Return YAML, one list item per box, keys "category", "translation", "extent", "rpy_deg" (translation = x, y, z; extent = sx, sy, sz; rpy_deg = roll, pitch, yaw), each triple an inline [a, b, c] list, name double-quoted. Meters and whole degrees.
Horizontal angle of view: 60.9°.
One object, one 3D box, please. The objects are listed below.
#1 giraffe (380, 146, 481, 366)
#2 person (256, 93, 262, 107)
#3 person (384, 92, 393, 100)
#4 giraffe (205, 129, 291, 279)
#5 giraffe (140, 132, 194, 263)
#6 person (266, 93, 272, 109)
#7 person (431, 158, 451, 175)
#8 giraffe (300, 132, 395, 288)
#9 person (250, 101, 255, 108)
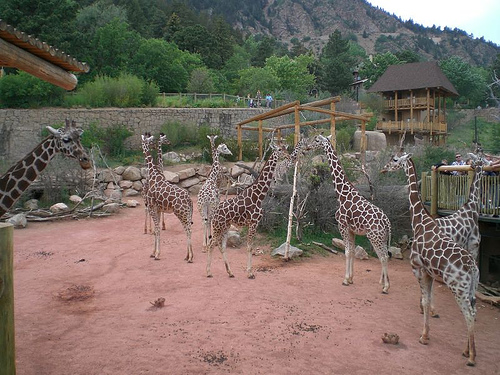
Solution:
- category: "giraffe"
  translation: [3.730, 1.308, 8.603]
  extent: [0.815, 3.668, 2.172]
  rpy_deg: [-3, 12, -21]
- category: "person"
  translation: [0.847, -8.493, 41.354]
  extent: [0.453, 1.158, 0.642]
  rpy_deg: [4, -5, -4]
- category: "person"
  translation: [13.427, -9.078, 41.645]
  extent: [0.452, 0.995, 0.923]
  rpy_deg: [1, 2, -15]
- category: "giraffe"
  translation: [-0.082, 0.602, 11.867]
  extent: [2.048, 3.572, 2.862]
  rpy_deg: [3, 12, 5]
- category: "giraffe"
  translation: [-2.554, 0.239, 12.881]
  extent: [1.335, 3.557, 3.203]
  rpy_deg: [-1, 12, -15]
- category: "person"
  translation: [1.775, -8.500, 40.805]
  extent: [0.751, 1.643, 0.709]
  rpy_deg: [1, 8, 6]
- category: "person"
  translation: [6.331, -0.690, 14.227]
  extent: [0.914, 0.398, 0.752]
  rpy_deg: [-7, 4, -18]
- category: "giraffe"
  translation: [2.650, 0.652, 11.014]
  extent: [0.721, 3.570, 2.246]
  rpy_deg: [-5, 13, -30]
- category: "person"
  translation: [0.195, -7.894, 40.252]
  extent: [0.247, 0.555, 1.348]
  rpy_deg: [4, 13, 10]
